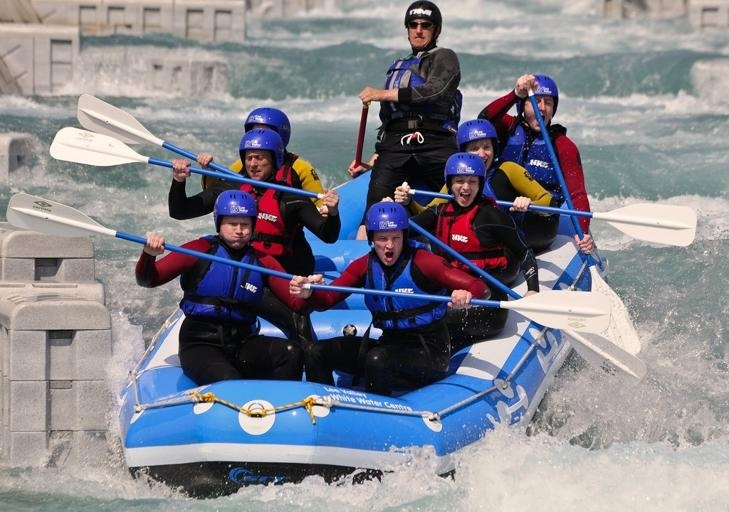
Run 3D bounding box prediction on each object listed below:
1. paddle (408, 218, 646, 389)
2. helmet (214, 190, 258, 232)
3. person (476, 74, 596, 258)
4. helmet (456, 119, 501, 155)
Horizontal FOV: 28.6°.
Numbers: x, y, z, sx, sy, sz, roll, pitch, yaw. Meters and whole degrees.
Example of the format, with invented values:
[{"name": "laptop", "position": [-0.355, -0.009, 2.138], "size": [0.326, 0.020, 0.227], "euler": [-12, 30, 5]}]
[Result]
[{"name": "paddle", "position": [2.082, 0.686, 19.357], "size": [3.263, 0.324, 0.816], "euler": [34, 41, 6]}, {"name": "helmet", "position": [-1.698, -0.609, 19.128], "size": [0.510, 0.496, 0.600], "euler": [2, -22, -9]}, {"name": "person", "position": [2.565, -1.293, 20.748], "size": [1.692, 2.507, 1.041], "euler": [-7, -7, 6]}, {"name": "helmet", "position": [1.578, -1.606, 19.814], "size": [0.426, 0.439, 0.515], "euler": [-5, -10, 1]}]
